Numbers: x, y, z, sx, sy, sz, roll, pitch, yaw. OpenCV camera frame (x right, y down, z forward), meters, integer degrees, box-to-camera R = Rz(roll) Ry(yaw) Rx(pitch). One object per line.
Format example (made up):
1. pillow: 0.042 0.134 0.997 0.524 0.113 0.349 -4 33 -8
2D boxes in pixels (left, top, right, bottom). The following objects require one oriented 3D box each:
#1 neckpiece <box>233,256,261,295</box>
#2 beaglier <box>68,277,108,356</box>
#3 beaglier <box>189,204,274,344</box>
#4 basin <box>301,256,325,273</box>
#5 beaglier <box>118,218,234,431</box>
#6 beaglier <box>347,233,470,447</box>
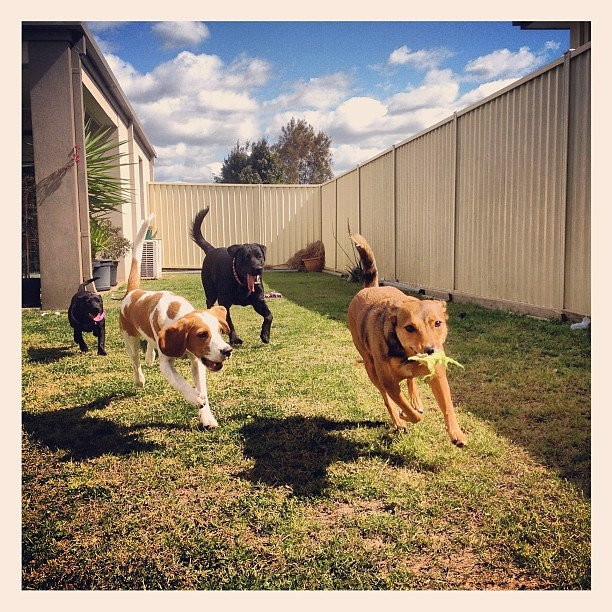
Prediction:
1. neckpiece: -0.681 -0.316 6.185 0.205 0.516 0.191 -2 -21 -21
2. beaglier: -2.406 0.146 5.986 0.356 0.657 0.992 -5 13 -22
3. beaglier: -0.912 -0.396 6.644 0.923 2.064 1.208 0 15 -20
4. basin: 0.191 -1.409 18.400 0.518 0.463 0.546 -2 -1 0
5. beaglier: -1.014 0.102 4.068 0.673 1.376 1.684 -5 13 -21
6. beaglier: 0.568 0.185 3.838 0.406 1.340 1.800 -8 10 -11
